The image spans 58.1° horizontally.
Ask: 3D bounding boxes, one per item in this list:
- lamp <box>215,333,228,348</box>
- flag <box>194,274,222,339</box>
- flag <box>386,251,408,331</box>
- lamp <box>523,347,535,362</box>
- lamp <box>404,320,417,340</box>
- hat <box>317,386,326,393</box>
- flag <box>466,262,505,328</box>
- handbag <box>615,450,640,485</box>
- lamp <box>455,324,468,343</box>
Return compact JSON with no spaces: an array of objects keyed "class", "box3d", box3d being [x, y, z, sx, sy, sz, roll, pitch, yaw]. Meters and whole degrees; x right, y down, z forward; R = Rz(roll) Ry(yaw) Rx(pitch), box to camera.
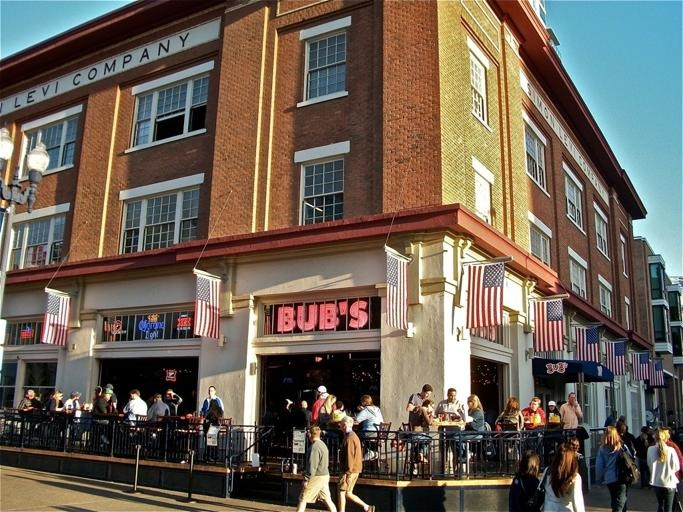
[{"class":"lamp","box3d":[-3.930,2.891,20.838,0.512,0.678,0.335,-2,-12,8]},{"class":"flag","box3d":[-4.358,1.688,20.377,0.107,2.264,1.682,-11,-21,27]},{"class":"flag","box3d":[1.538,0.943,17.693,0.447,2.172,0.955,-10,-20,29]},{"class":"lamp","box3d":[7.090,3.704,23.249,0.452,0.688,0.381,-1,-10,18]},{"class":"lamp","box3d":[2.070,2.171,18.163,0.276,0.503,0.470,-2,-11,23]},{"class":"hat","box3d":[-0.573,3.979,18.293,0.174,0.133,0.245,6,-1,-29]},{"class":"flag","box3d":[4.238,1.113,18.201,1.153,1.847,0.544,-3,-18,11]},{"class":"handbag","box3d":[6.294,4.617,13.508,0.354,0.748,0.691,-13,-22,37]},{"class":"lamp","box3d":[3.658,2.376,18.613,0.184,0.483,0.923,-9,-20,27]}]
